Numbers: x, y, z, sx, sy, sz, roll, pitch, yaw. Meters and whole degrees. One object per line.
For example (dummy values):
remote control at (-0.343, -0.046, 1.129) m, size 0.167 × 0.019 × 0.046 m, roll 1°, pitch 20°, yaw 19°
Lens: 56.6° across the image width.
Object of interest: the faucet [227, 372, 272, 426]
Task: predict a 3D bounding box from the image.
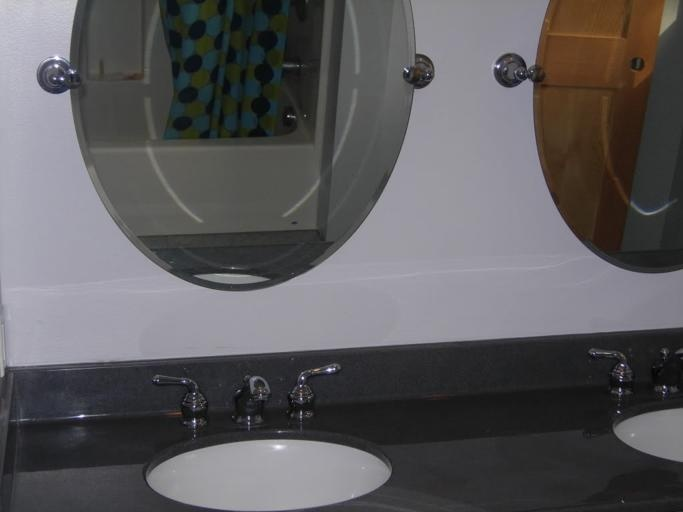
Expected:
faucet at (-0.205, 0.325, 1.438) m, size 0.083 × 0.107 × 0.049 m, roll -1°, pitch 5°, yaw -11°
